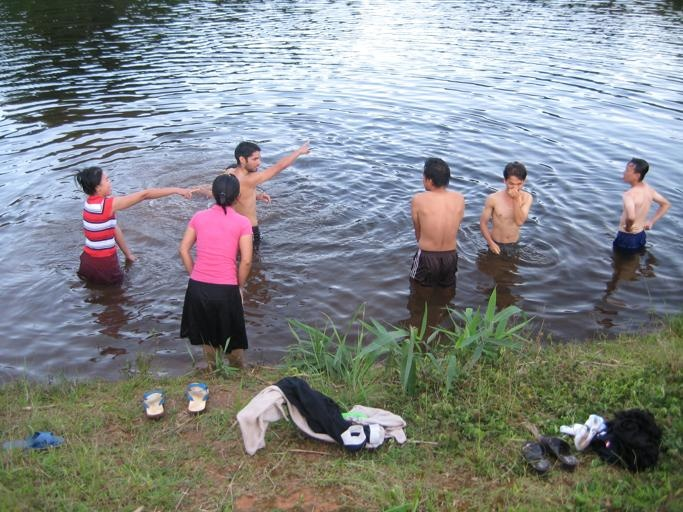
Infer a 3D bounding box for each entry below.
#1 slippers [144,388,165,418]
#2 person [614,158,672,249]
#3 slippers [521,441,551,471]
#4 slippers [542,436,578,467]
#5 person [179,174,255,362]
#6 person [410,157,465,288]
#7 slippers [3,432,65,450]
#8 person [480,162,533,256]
[{"bbox_3d":[-2.344,1.846,7.351,0.247,0.195,0.369,-7,23,-20],"label":"slippers"},{"bbox_3d":[5.612,-0.966,11.068,1.067,1.724,0.536,-14,28,-32],"label":"person"},{"bbox_3d":[2.224,2.283,6.686,0.325,0.174,0.330,10,23,19],"label":"slippers"},{"bbox_3d":[2.508,2.229,6.717,0.205,0.108,0.399,-13,25,-7],"label":"slippers"},{"bbox_3d":[-1.777,0.397,8.419,1.129,2.973,0.905,3,23,-5],"label":"person"},{"bbox_3d":[1.643,-0.570,10.109,0.894,2.213,0.564,5,24,8],"label":"person"},{"bbox_3d":[-3.539,2.146,6.800,0.437,0.097,0.244,6,6,-13],"label":"slippers"},{"bbox_3d":[3.080,-0.952,10.962,0.837,1.726,0.929,7,24,12],"label":"person"}]
